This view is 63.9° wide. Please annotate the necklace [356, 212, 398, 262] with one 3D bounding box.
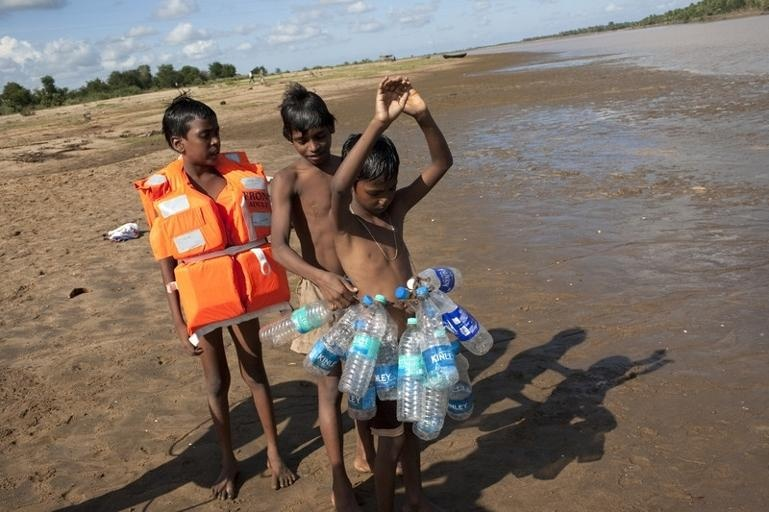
[{"bbox_3d":[-0.057,-0.170,4.807,0.240,0.424,0.073,-32,-1,-42],"label":"necklace"}]
